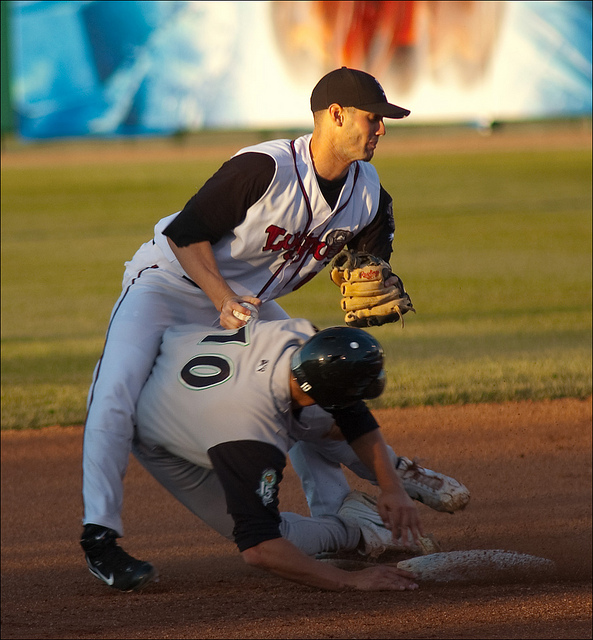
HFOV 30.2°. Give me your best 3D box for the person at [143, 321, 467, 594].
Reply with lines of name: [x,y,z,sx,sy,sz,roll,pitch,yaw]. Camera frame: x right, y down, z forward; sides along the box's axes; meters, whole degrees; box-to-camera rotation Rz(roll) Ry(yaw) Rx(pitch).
person: [-0.013,0.646,4.798,0.963,0.961,0.534,18,68,0]

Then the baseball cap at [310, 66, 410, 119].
baseball cap: [0.301,-1.056,5.025,0.473,0.186,0.263,6,16,2]

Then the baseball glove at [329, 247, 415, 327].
baseball glove: [0.334,-0.159,5.238,0.328,0.419,0.199,38,69,19]
